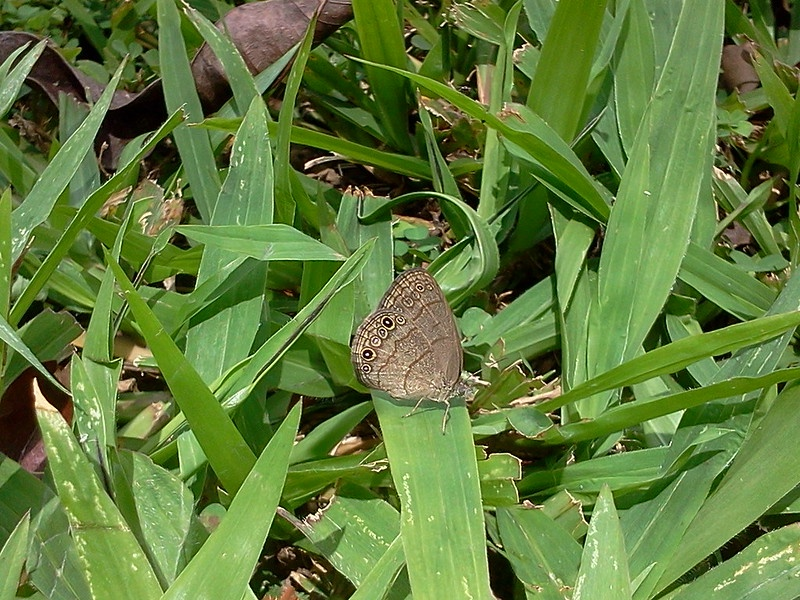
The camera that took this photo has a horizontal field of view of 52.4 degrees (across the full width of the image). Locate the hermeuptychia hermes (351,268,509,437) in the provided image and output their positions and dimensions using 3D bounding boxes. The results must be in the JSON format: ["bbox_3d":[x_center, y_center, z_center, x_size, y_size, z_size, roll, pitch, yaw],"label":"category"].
[{"bbox_3d":[0.048,0.109,1.771,0.312,0.297,0.393,-1,28,-14],"label":"hermeuptychia hermes"}]
